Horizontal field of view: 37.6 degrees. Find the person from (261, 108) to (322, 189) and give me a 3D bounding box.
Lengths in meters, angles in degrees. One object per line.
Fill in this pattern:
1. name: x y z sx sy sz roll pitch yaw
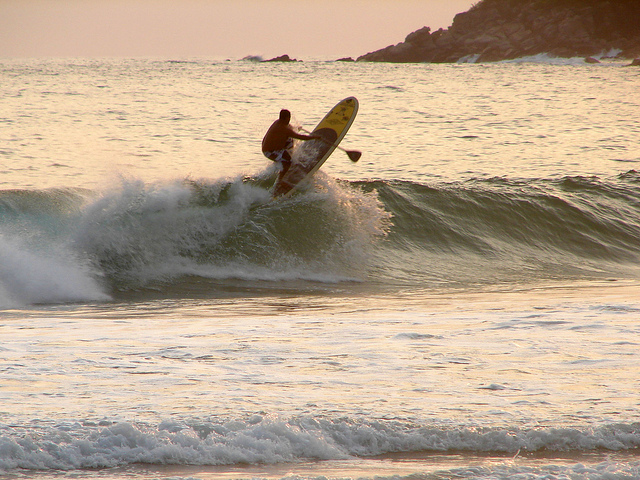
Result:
1. person: -0.609 -1.810 17.732 0.949 1.280 1.168 -1 5 -2
